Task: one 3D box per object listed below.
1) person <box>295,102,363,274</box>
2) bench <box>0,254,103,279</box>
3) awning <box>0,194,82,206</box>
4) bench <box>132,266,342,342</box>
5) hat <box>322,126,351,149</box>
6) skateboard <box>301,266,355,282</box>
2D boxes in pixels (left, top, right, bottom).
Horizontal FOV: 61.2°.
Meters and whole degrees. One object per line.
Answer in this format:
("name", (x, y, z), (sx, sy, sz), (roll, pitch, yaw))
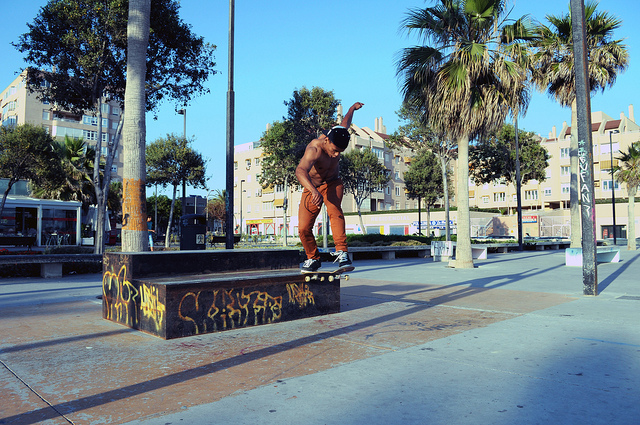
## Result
("person", (0.080, -0.212, 12.204), (1.175, 3.440, 0.908), (0, 11, -3))
("bench", (-9.501, 1.792, 19.302), (3.184, 0.974, 0.661), (-9, 14, -38))
("awning", (-17.569, -0.811, 34.446), (4.009, 0.744, 1.624), (-6, 14, -30))
("bench", (-1.866, 1.975, 12.325), (4.300, 1.238, 0.699), (-3, 12, -17))
("hat", (0.341, -1.733, 12.113), (0.355, 0.306, 0.550), (3, 21, -39))
("skateboard", (0.198, 1.401, 12.531), (0.422, 0.325, 1.737), (2, -5, -29))
